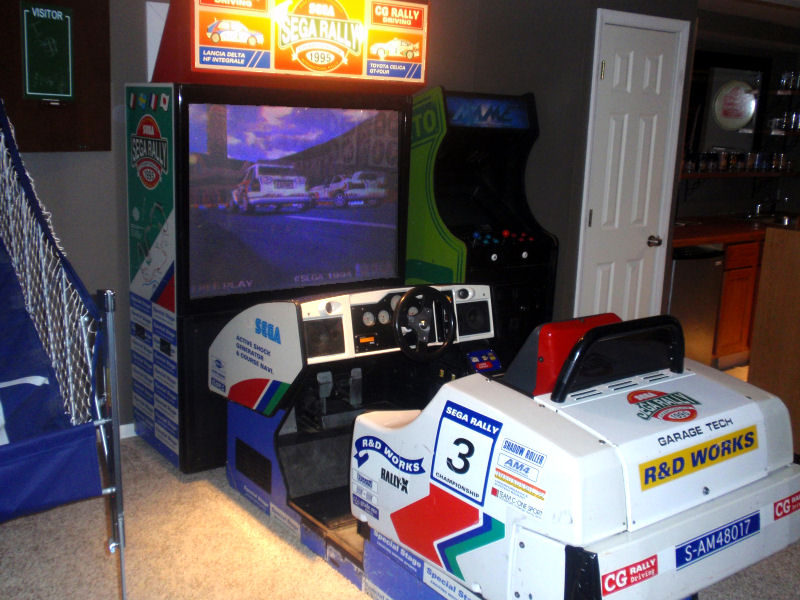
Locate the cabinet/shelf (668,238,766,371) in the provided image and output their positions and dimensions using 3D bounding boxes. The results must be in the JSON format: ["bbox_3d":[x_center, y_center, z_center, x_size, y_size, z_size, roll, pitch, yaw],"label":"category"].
[{"bbox_3d":[2.563,0.044,5.309,1.104,1.062,0.314,-7,17,-31],"label":"cabinet/shelf"}]

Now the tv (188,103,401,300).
[{"bbox_3d":[-0.623,-0.562,3.502,1.001,0.818,0.016,-6,12,-34],"label":"tv"}]
